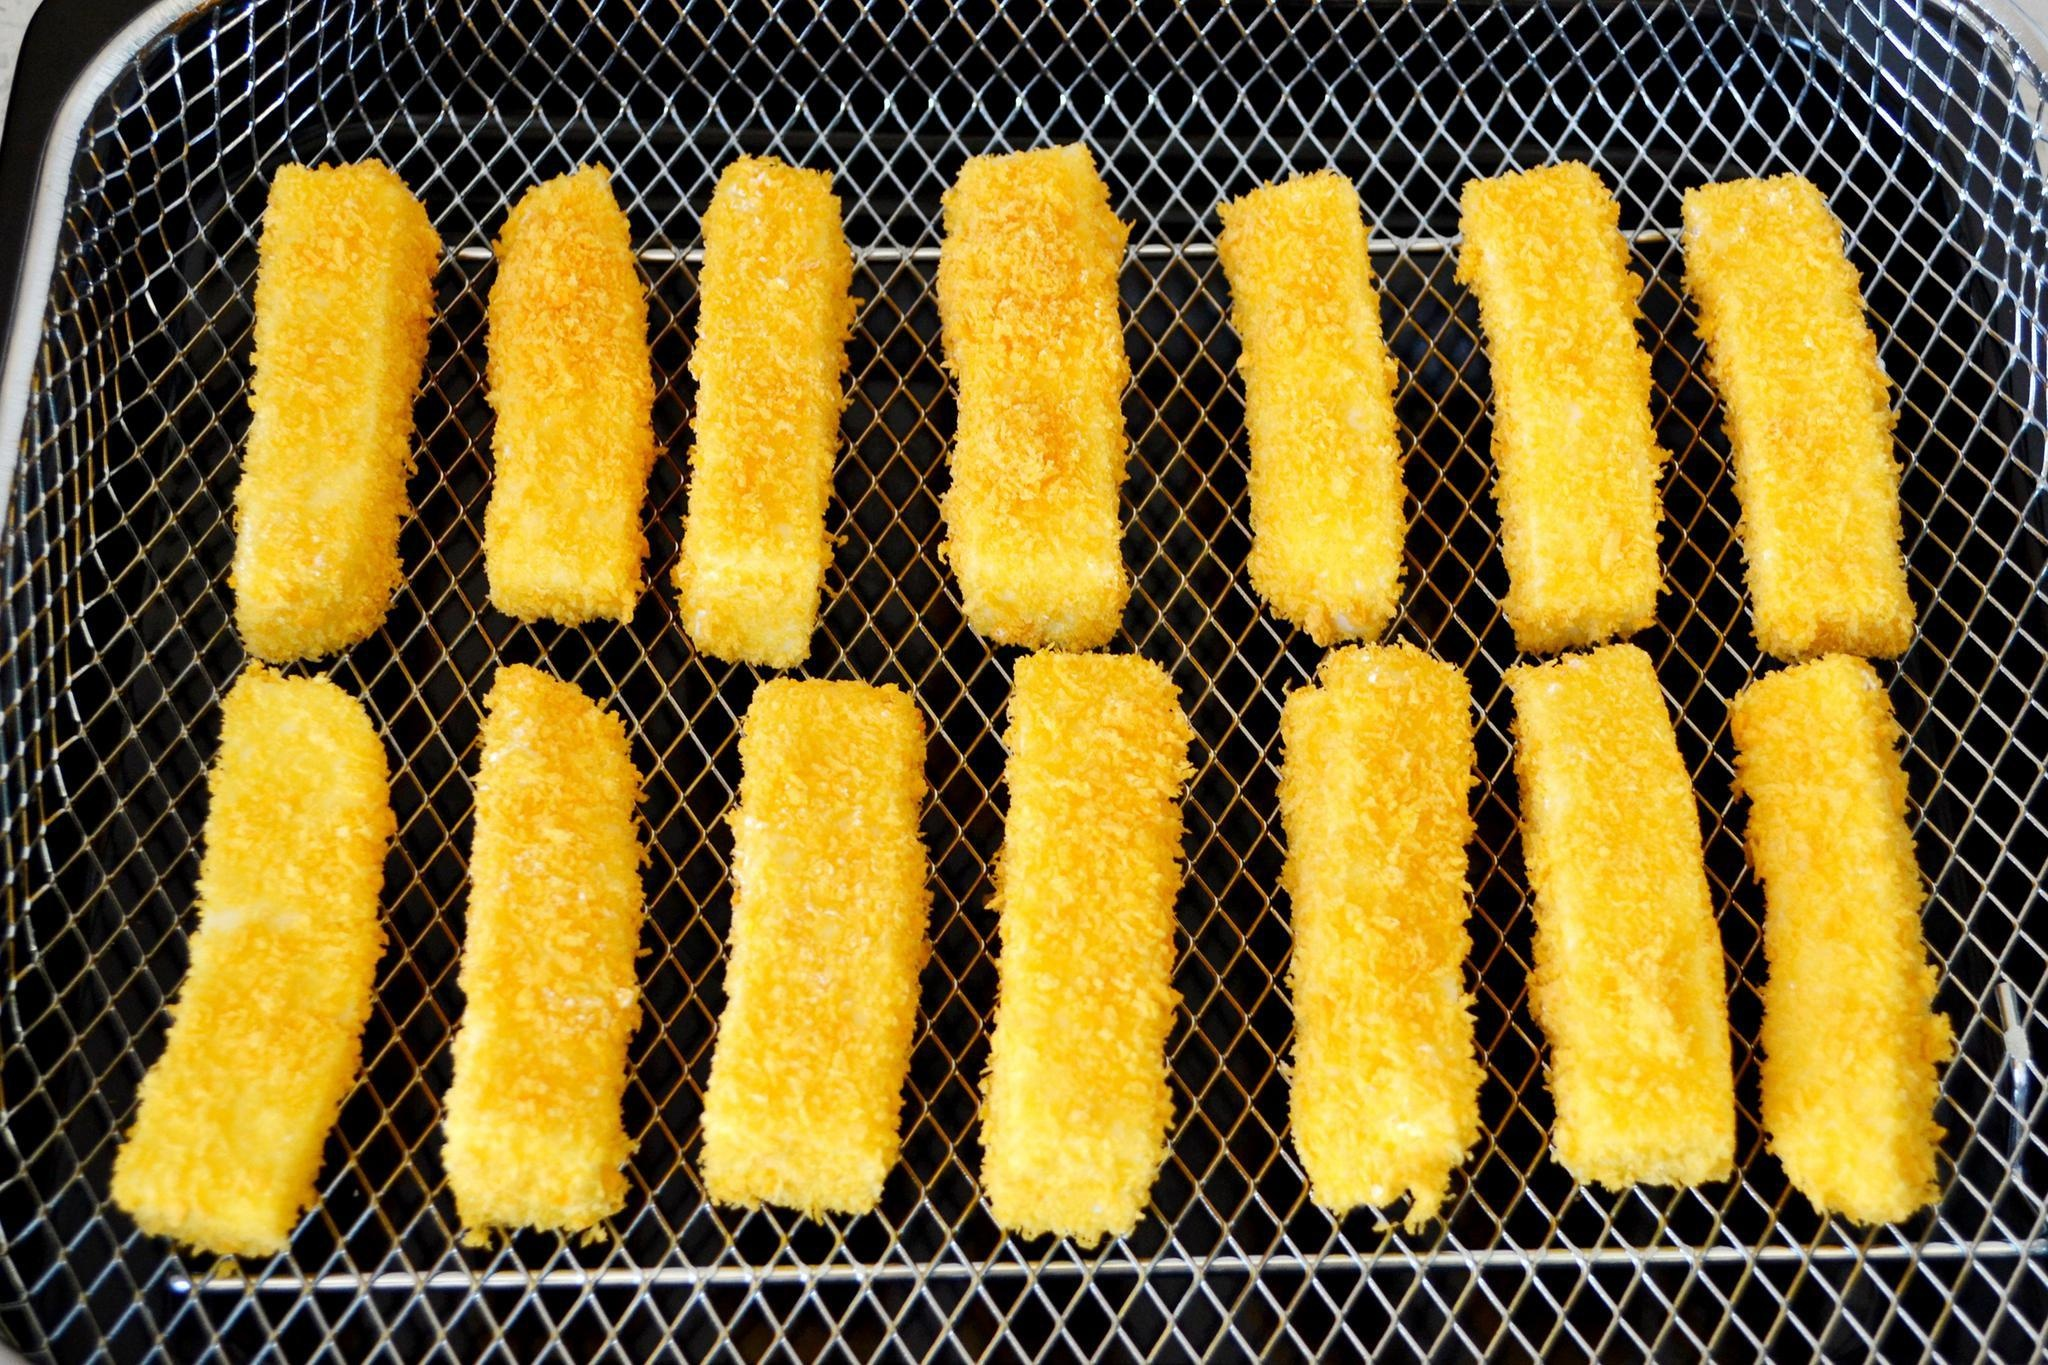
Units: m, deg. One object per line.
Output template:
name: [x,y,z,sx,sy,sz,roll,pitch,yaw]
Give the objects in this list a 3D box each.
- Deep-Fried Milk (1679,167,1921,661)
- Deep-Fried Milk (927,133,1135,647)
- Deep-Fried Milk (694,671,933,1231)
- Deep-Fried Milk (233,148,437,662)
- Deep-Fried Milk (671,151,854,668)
Deep-Fried Milk: [0.776,-0.307,2.574,0.141,0.447,0.109,-8,53,16]
Deep-Fried Milk: [-0.006,-0.370,2.565,0.210,0.620,0.206,-12,53,-5]
Deep-Fried Milk: [-0.195,0.260,2.454,0.179,0.131,0.537,1,84,-5]
Deep-Fried Milk: [-0.686,-0.249,2.552,0.205,0.166,0.681,-7,50,0]
Deep-Fried Milk: [-0.270,-0.279,2.618,0.182,0.608,0.204,8,56,-5]
